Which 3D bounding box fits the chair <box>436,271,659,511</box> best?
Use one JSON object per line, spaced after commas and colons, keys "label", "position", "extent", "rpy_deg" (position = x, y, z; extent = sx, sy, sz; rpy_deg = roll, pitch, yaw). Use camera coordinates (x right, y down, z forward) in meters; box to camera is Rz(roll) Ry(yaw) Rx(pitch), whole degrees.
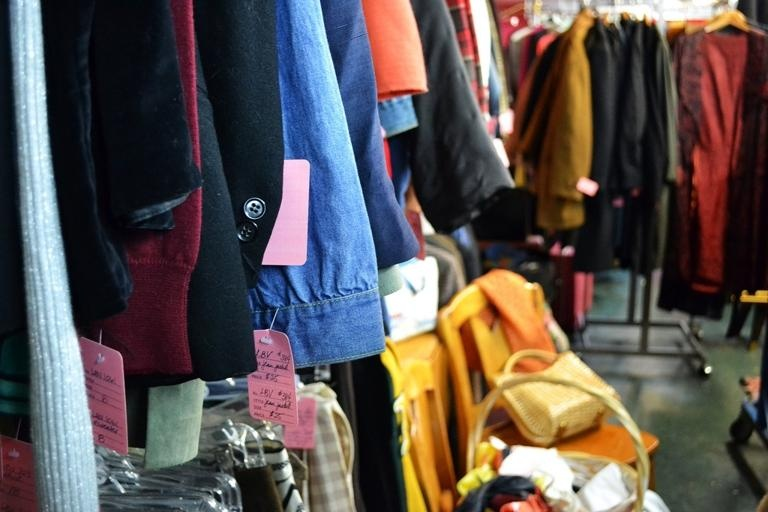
{"label": "chair", "position": [0.444, 0.367, 1.942], "extent": [0.451, 0.771, 0.502], "rpy_deg": [-15, 20, -38]}

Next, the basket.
{"label": "basket", "position": [0.390, 0.432, 1.624], "extent": [0.172, 0.316, 0.195], "rpy_deg": [-27, 32, -30]}
